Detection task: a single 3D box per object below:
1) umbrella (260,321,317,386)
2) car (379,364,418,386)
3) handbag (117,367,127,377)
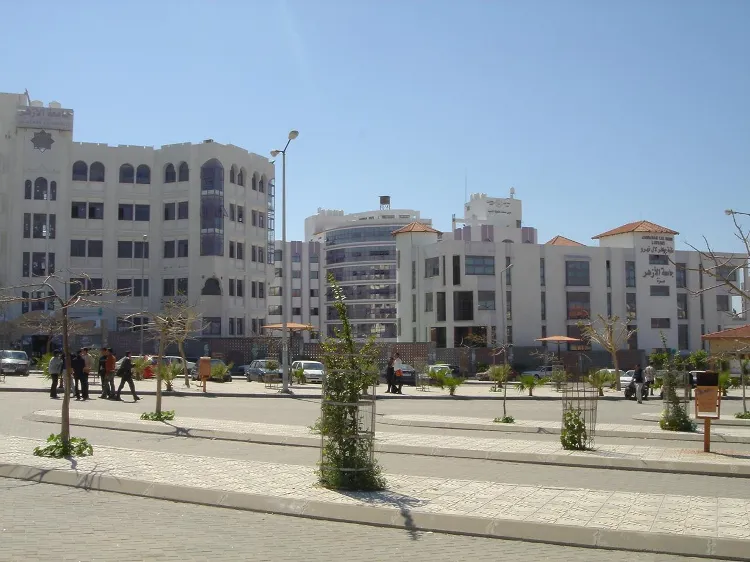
[{"bbox_3d":[-5.649,4.679,53.195,3.190,4.338,3.309,0,-8,0],"label":"umbrella"},{"bbox_3d":[1.941,5.706,50.893,1.291,1.018,2.900,1,2,-3],"label":"car"},{"bbox_3d":[-9.596,3.439,31.376,0.214,0.383,0.897,2,-8,-25],"label":"handbag"}]
